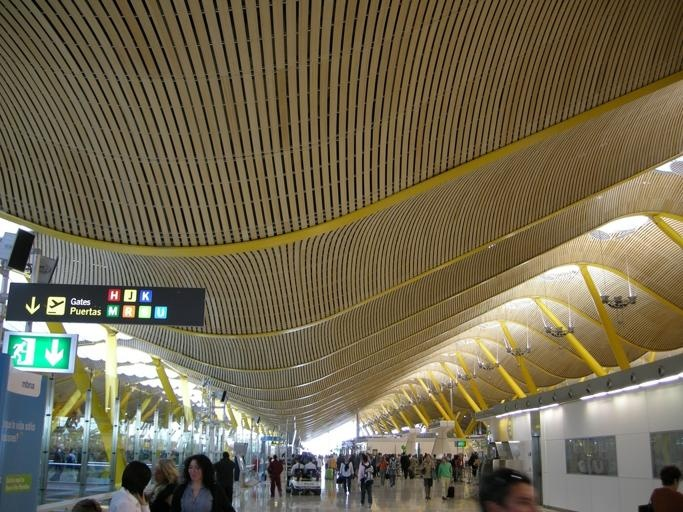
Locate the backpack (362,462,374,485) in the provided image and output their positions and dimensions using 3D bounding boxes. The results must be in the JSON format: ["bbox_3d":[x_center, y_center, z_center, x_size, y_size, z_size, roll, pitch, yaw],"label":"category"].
[{"bbox_3d":[0.904,7.852,20.723,0.386,0.837,1.151,-3,-28,6],"label":"backpack"}]

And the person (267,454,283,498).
[{"bbox_3d":[-2.903,9.322,24.455,0.566,1.815,0.482,-2,3,-12],"label":"person"}]
